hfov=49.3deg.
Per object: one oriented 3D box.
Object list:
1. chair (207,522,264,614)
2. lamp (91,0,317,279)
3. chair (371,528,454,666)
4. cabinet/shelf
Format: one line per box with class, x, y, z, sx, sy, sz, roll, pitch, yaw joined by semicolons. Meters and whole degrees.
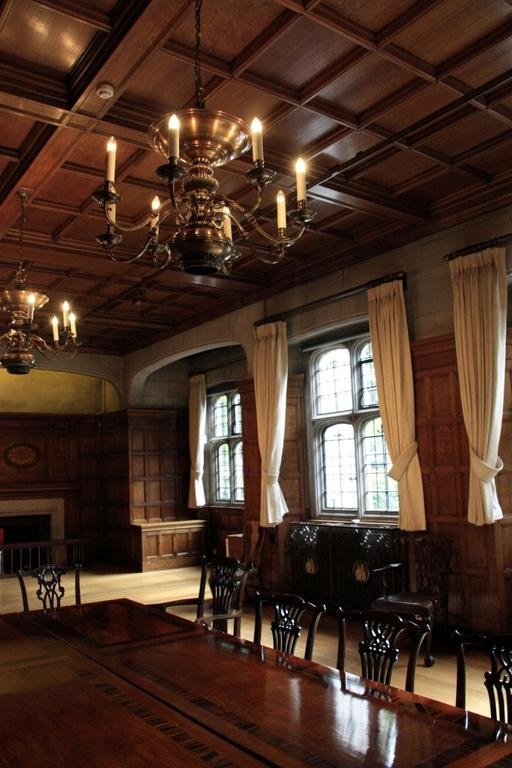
chair;-0.148;1.602;4.805;0.374;0.667;0.408;-4;-2;44
lamp;-0.326;-1.571;3.451;1.060;1.420;1.070;-17;-24;39
chair;1.542;1.986;5.357;0.733;1.090;0.699;6;-14;-34
cabinet/shelf;0.883;2.278;6.883;1.520;0.930;0.462;14;-25;-24
